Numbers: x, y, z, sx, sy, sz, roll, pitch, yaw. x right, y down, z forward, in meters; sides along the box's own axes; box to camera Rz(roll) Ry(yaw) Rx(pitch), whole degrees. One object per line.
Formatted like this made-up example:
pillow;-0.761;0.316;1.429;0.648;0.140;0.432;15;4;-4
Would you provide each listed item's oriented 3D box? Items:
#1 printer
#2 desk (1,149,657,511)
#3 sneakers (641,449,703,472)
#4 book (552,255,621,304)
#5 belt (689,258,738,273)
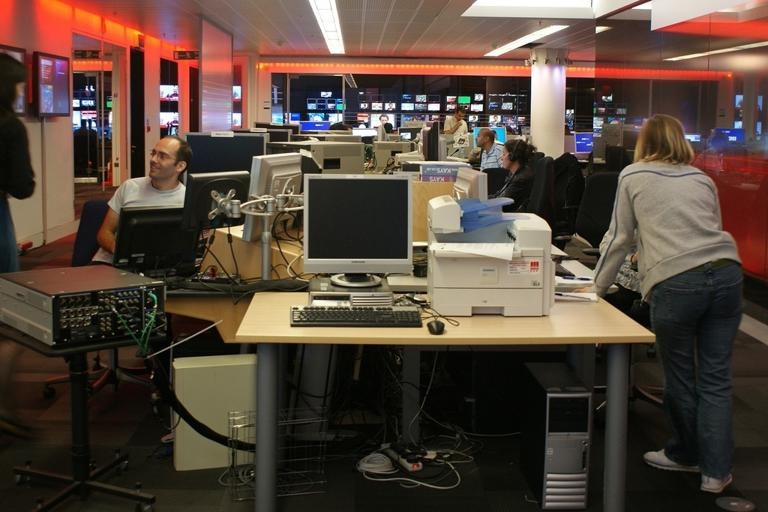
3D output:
printer;0.597;-0.001;3.470;0.667;0.506;0.707;0;13;1
desk;-0.508;0.559;3.597;3.780;1.533;1.299;-1;13;-7
sneakers;1.792;1.276;3.855;0.330;0.148;0.116;4;2;12
book;1.271;0.086;4.024;0.299;0.096;0.451;2;10;6
belt;1.873;0.049;3.484;0.133;0.049;0.115;-15;-2;24
